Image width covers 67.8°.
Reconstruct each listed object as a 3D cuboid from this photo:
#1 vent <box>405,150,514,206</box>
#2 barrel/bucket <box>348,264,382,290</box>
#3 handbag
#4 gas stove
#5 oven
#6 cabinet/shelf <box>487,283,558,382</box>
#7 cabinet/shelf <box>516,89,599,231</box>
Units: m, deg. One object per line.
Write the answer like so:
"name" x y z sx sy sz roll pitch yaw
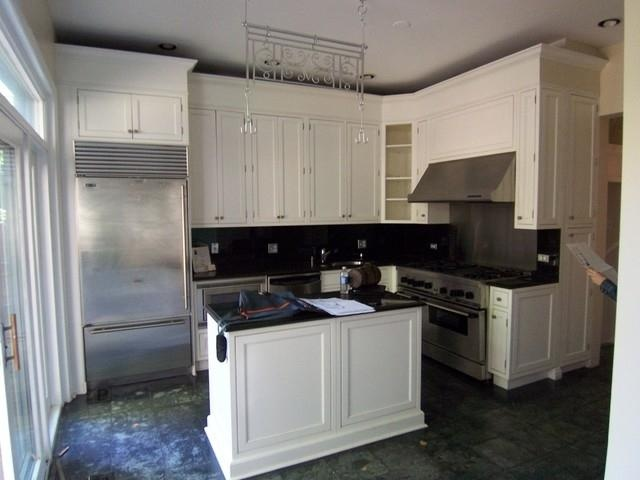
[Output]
"vent" 1.509 -0.655 5.193 0.347 0.450 1.205 -9 8 -29
"barrel/bucket" 0.382 0.325 4.274 0.327 0.212 0.107 -5 5 -28
"handbag" -0.406 0.502 3.583 0.444 0.164 0.341 -7 7 -40
"gas stove" 1.580 0.498 5.413 0.919 0.403 1.407 -3 5 -22
"oven" 1.165 1.052 5.179 1.092 0.750 0.737 21 -33 -24
"cabinet/shelf" 2.027 0.925 4.746 0.722 0.997 0.244 -4 5 -16
"cabinet/shelf" 2.387 -0.809 4.809 0.926 1.346 0.239 -5 5 -21
